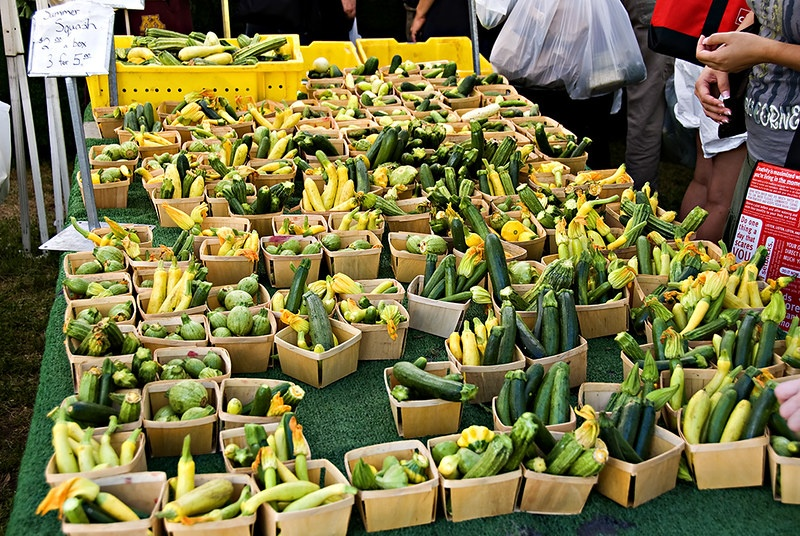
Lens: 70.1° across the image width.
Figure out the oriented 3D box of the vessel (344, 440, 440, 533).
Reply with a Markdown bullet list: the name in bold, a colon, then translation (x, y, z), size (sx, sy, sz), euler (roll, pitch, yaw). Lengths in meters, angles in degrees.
- **vessel**: translation (-0.005, 0.907, 2.411), size (0.279, 0.245, 0.386), euler (-7, 35, -4)

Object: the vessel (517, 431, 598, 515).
- **vessel**: translation (0.657, 0.878, 2.434), size (0.247, 0.188, 0.209), euler (8, 11, -3)

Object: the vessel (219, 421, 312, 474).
- **vessel**: translation (-0.596, 0.750, 2.405), size (0.290, 0.138, 0.233), euler (-2, 36, -12)

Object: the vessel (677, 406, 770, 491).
- **vessel**: translation (1.411, 0.800, 2.457), size (0.244, 0.175, 0.269), euler (-2, 26, 12)

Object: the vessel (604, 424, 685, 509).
- **vessel**: translation (1.051, 0.850, 2.442), size (0.406, 0.260, 0.127), euler (-8, 21, -23)

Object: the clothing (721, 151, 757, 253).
- **clothing**: translation (2.380, -0.477, 3.985), size (0.170, 0.796, 0.109), euler (10, 6, 24)

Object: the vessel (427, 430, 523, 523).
- **vessel**: translation (0.328, 0.864, 2.326), size (0.229, 0.165, 0.258), euler (-2, 30, -3)

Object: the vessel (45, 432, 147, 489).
- **vessel**: translation (-1.235, 0.798, 2.324), size (0.281, 0.127, 0.244), euler (-3, 35, -5)
